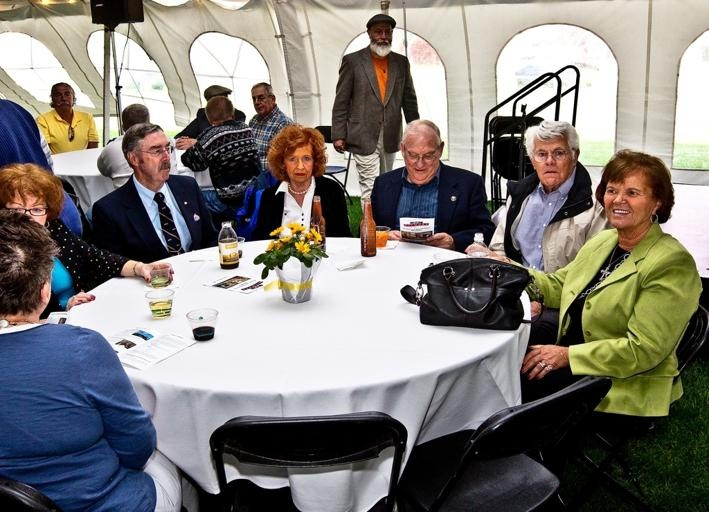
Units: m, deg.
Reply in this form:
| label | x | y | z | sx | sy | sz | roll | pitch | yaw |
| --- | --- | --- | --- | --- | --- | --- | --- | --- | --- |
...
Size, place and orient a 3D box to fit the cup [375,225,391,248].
| label | x | y | z | sx | sy | sz | roll | pitch | yaw |
| --- | --- | --- | --- | --- | --- | --- | --- | --- | --- |
| cup | 0.180 | -0.112 | 3.442 | 0.103 | 0.084 | 0.107 | 0 | 6 | 0 |

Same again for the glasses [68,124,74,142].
| label | x | y | z | sx | sy | sz | roll | pitch | yaw |
| --- | --- | --- | --- | --- | --- | --- | --- | --- | --- |
| glasses | -3.638 | -1.578 | 7.243 | 0.041 | 0.148 | 0.105 | 5 | 7 | 18 |

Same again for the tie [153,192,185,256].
| label | x | y | z | sx | sy | sz | roll | pitch | yaw |
| --- | --- | --- | --- | --- | --- | --- | --- | --- | --- |
| tie | -1.217 | -0.189 | 3.688 | 0.111 | 0.589 | 0.082 | -20 | -16 | -3 |

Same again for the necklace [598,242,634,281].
| label | x | y | z | sx | sy | sz | roll | pitch | yaw |
| --- | --- | --- | --- | --- | --- | --- | --- | --- | --- |
| necklace | 1.333 | 0.027 | 2.849 | 0.046 | 0.192 | 0.104 | 30 | 5 | -36 |

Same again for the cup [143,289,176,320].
| label | x | y | z | sx | sy | sz | roll | pitch | yaw |
| --- | --- | --- | --- | --- | --- | --- | --- | --- | --- |
| cup | -0.877 | 0.202 | 2.559 | 0.121 | 0.113 | 0.131 | 1 | 13 | 0 |

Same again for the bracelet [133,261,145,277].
| label | x | y | z | sx | sy | sz | roll | pitch | yaw |
| --- | --- | --- | --- | --- | --- | --- | --- | --- | --- |
| bracelet | -1.140 | 0.067 | 2.979 | 0.058 | 0.085 | 0.032 | 0 | 4 | 16 |

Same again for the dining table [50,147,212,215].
| label | x | y | z | sx | sy | sz | roll | pitch | yaw |
| --- | --- | --- | --- | --- | --- | --- | --- | --- | --- |
| dining table | -2.706 | -0.842 | 5.899 | 1.251 | 0.332 | 1.295 | 3 | 21 | -8 |

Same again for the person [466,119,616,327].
| label | x | y | z | sx | sy | sz | roll | pitch | yaw |
| --- | --- | --- | --- | --- | --- | --- | --- | --- | --- |
| person | 1.091 | -0.386 | 3.945 | 0.919 | 1.324 | 1.005 | -14 | 27 | -15 |

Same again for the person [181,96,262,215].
| label | x | y | z | sx | sy | sz | roll | pitch | yaw |
| --- | --- | --- | --- | --- | --- | --- | --- | --- | --- |
| person | -1.816 | -1.340 | 7.606 | 0.804 | 2.125 | 0.578 | -1 | -15 | -19 |

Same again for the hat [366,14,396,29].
| label | x | y | z | sx | sy | sz | roll | pitch | yaw |
| --- | --- | --- | --- | --- | --- | --- | --- | --- | --- |
| hat | 0.274 | -2.367 | 5.626 | 0.282 | 0.135 | 0.199 | -11 | 18 | -21 |

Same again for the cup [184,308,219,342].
| label | x | y | z | sx | sy | sz | roll | pitch | yaw |
| --- | --- | --- | --- | --- | --- | --- | --- | --- | --- |
| cup | -0.630 | 0.286 | 2.355 | 0.126 | 0.101 | 0.126 | -1 | 7 | 0 |

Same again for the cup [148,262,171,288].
| label | x | y | z | sx | sy | sz | roll | pitch | yaw |
| --- | --- | --- | --- | --- | --- | --- | --- | --- | --- |
| cup | -0.977 | 0.104 | 2.852 | 0.098 | 0.094 | 0.111 | 3 | 3 | 16 |

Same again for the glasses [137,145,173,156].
| label | x | y | z | sx | sy | sz | roll | pitch | yaw |
| --- | --- | --- | --- | --- | --- | --- | --- | --- | --- |
| glasses | -1.267 | -0.679 | 3.626 | 0.069 | 0.058 | 0.185 | 11 | 23 | 43 |

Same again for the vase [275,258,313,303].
| label | x | y | z | sx | sy | sz | roll | pitch | yaw |
| --- | --- | --- | --- | --- | --- | --- | --- | --- | --- |
| vase | -0.297 | 0.092 | 2.699 | 0.196 | 0.200 | 0.193 | -1 | 13 | -11 |

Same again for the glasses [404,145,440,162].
| label | x | y | z | sx | sy | sz | roll | pitch | yaw |
| --- | --- | --- | --- | --- | --- | --- | --- | --- | --- |
| glasses | 0.471 | -0.708 | 3.851 | 0.254 | 0.103 | 0.150 | -5 | 16 | 0 |

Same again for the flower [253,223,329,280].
| label | x | y | z | sx | sy | sz | roll | pitch | yaw |
| --- | --- | --- | --- | --- | --- | --- | --- | --- | --- |
| flower | -0.276 | -0.051 | 2.608 | 0.291 | 0.140 | 0.292 | 14 | 32 | 31 |
